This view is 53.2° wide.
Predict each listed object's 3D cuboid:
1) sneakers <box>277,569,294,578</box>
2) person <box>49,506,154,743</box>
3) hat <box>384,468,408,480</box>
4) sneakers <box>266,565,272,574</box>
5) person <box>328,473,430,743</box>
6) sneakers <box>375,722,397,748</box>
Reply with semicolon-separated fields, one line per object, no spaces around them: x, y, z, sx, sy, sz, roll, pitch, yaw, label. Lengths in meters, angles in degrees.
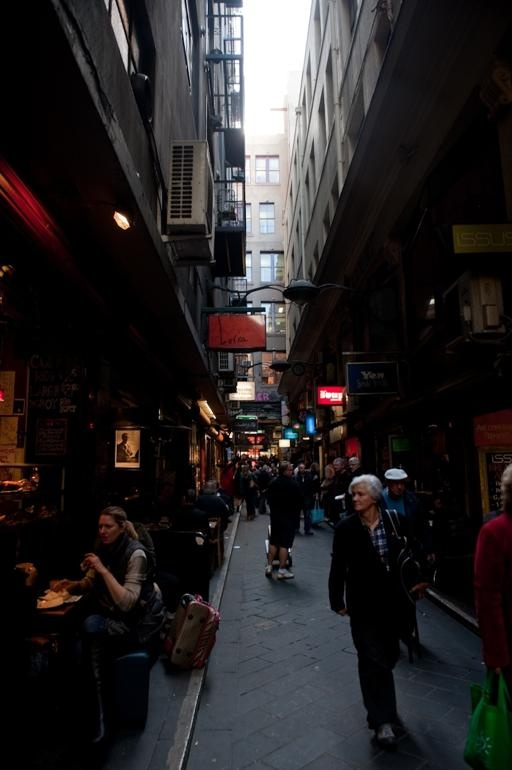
0.427;2.781;7.551;0.257;0.155;0.108;-3;-5;18;sneakers
-0.937;1.535;3.315;0.425;1.455;0.630;-11;-19;30;person
1.395;0.897;5.184;0.190;0.114;0.265;-1;-11;5;hat
0.191;2.852;7.875;0.094;0.161;0.250;1;-10;3;sneakers
0.710;1.286;3.064;0.560;1.458;0.370;-2;-9;22;person
0.707;1.921;2.792;0.061;0.070;0.130;-1;-6;8;sneakers
